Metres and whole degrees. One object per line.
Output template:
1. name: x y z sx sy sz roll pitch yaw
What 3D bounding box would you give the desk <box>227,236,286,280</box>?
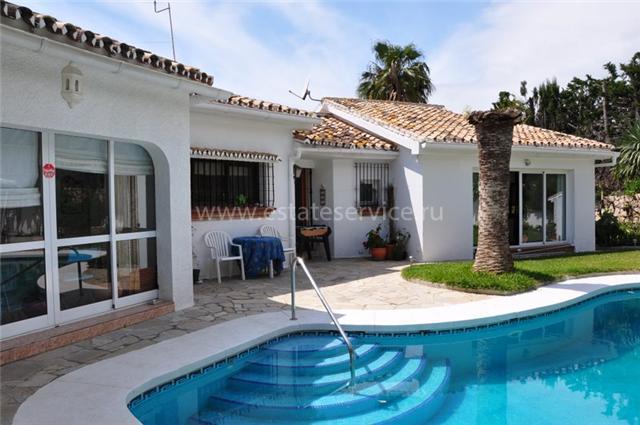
1. desk: -1.637 1.183 12.630 1.335 1.080 0.756 -3 0 -10

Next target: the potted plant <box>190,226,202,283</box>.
1. potted plant: -3.172 1.070 12.112 0.193 1.467 0.457 -3 0 -15

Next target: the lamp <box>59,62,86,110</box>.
1. lamp: -4.199 -2.196 8.014 0.325 0.749 0.220 -3 0 -18

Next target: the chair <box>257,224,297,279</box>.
1. chair: -1.095 1.031 13.590 1.297 1.693 1.331 0 0 39

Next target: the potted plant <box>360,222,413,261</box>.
1. potted plant: 2.209 0.931 15.494 1.235 0.816 1.166 1 -7 -6
